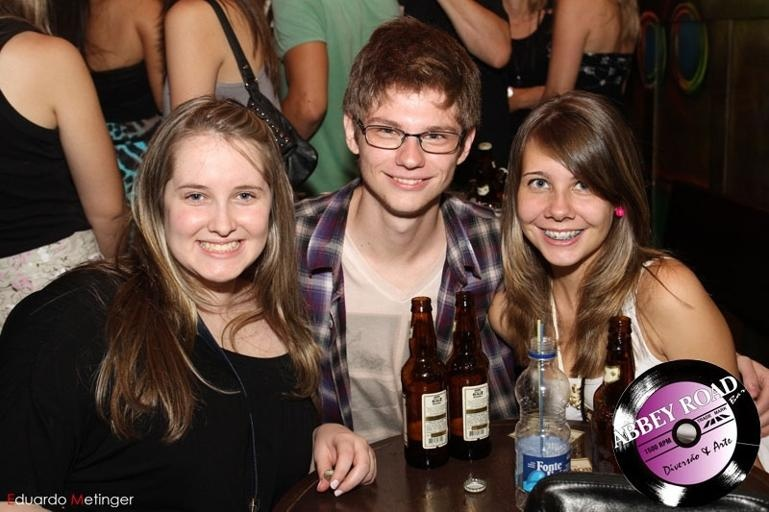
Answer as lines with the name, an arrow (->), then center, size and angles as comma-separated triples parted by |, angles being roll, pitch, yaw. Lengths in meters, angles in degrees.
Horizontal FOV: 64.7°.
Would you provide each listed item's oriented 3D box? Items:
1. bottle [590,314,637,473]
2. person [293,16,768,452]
bottle -> 0.736, 0.447, 1.961 | 0.122, 0.477, 0.345 | 4, 21, 21
person -> 0.619, -0.110, 2.657 | 1.535, 1.402, 0.833 | -22, 29, -13
